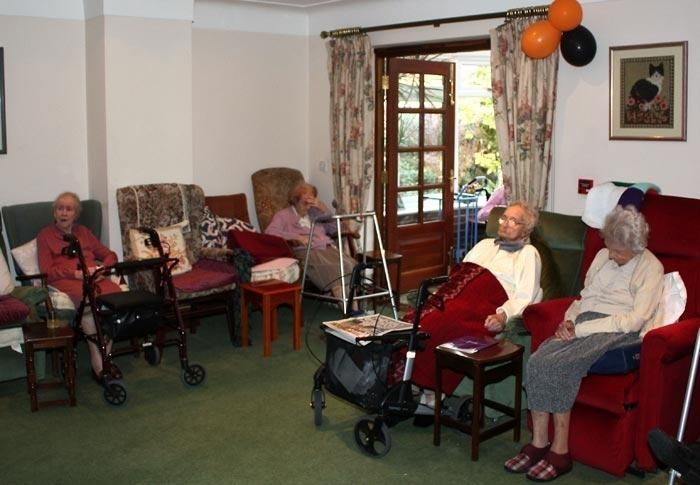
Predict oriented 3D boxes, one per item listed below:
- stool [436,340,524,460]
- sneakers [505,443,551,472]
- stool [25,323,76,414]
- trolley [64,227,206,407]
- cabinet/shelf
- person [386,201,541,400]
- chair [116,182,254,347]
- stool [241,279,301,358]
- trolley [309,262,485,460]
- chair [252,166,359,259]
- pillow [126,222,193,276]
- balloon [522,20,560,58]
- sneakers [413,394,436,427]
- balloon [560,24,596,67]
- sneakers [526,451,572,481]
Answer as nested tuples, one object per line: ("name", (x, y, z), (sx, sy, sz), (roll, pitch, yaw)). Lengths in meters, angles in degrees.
("stool", (0.835, 1.018, 3.580), (0.476, 0.653, 0.513), (-4, 4, -20))
("sneakers", (1.091, 1.317, 3.335), (0.263, 0.098, 0.134), (-23, 17, -19))
("stool", (-2.251, 0.926, 4.081), (0.398, 0.521, 0.441), (-1, 8, -23))
("trolley", (-1.726, 0.523, 4.343), (1.155, 1.211, 1.076), (1, 8, -2))
("cabinet/shelf", (0.088, 0.260, 5.175), (0.771, 0.991, 0.778), (12, 29, 34))
("person", (0.891, 0.381, 4.158), (1.508, 0.903, 0.797), (-24, 22, -29))
("chair", (-1.648, 0.214, 5.229), (1.035, 1.523, 0.921), (4, 7, 39))
("stool", (-0.734, 0.676, 5.002), (0.452, 0.553, 0.470), (3, 3, 36))
("trolley", (0.237, 0.710, 3.667), (0.830, 1.177, 0.823), (2, 1, -36))
("chair", (-0.710, -0.446, 7.001), (0.847, 1.492, 1.226), (-6, 0, -35))
("pillow", (-1.752, 0.034, 5.165), (0.495, 0.563, 0.161), (-8, -10, -41))
("balloon", (1.583, -1.687, 4.498), (0.208, 0.294, 0.201), (36, 23, -5))
("sneakers", (0.512, 1.164, 3.733), (0.066, 0.235, 0.173), (21, -5, -27))
("balloon", (1.956, -1.660, 4.638), (0.269, 0.351, 0.285), (-2, 4, 27))
("sneakers", (1.185, 1.317, 3.260), (0.251, 0.108, 0.134), (-14, 9, -29))
